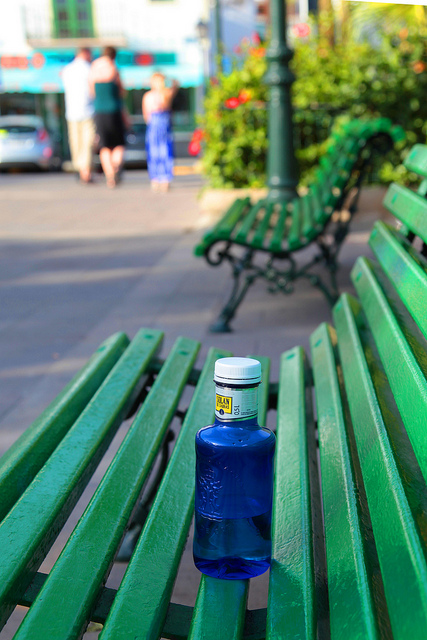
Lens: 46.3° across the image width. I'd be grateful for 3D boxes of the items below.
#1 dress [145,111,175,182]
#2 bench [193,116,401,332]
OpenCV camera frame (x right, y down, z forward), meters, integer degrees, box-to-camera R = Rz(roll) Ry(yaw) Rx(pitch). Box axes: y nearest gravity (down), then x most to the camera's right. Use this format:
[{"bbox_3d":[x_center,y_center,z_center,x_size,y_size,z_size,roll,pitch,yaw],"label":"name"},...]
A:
[{"bbox_3d":[-1.302,-4.182,12.092,0.620,1.627,0.741,-5,20,-5],"label":"dress"},{"bbox_3d":[0.576,-0.862,4.221,1.257,1.298,2.480,4,17,7],"label":"bench"}]
